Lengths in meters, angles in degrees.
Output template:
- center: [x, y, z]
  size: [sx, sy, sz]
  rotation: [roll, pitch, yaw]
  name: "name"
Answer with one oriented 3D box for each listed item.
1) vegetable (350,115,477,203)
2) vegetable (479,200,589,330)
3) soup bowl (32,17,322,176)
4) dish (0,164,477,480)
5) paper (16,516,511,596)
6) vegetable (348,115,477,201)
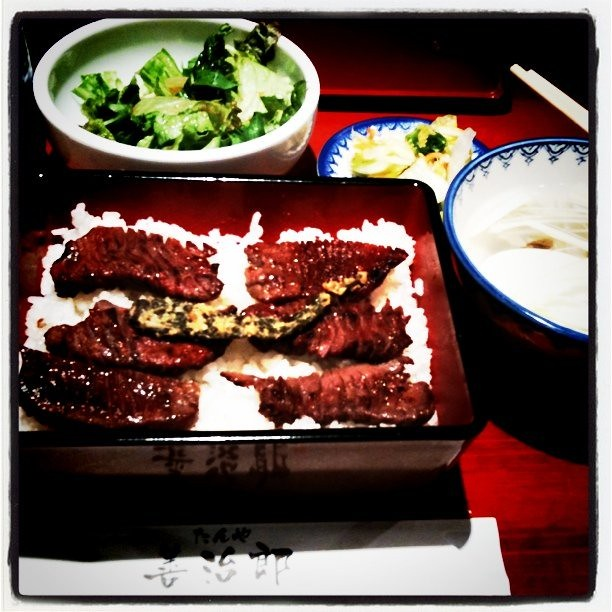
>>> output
- center: [0.257, -0.359, 1.527]
  size: [0.246, 0.105, 0.245]
  rotation: [1, 73, 0]
  name: "vegetable"
- center: [0.474, -0.116, 1.285]
  size: [0.210, 0.124, 0.323]
  rotation: [6, 51, -1]
  name: "vegetable"
- center: [-0.352, -0.461, 1.435]
  size: [0.399, 0.161, 0.414]
  rotation: [4, 46, -4]
  name: "soup bowl"
- center: [-0.137, 0.011, 1.244]
  size: [0.878, 0.262, 0.619]
  rotation: [0, 52, -6]
  name: "dish"
- center: [-0.039, 0.417, 0.970]
  size: [0.918, 0.194, 0.137]
  rotation: [0, 63, 2]
  name: "paper"
- center: [0.256, -0.357, 1.558]
  size: [0.246, 0.103, 0.245]
  rotation: [4, 72, 1]
  name: "vegetable"
